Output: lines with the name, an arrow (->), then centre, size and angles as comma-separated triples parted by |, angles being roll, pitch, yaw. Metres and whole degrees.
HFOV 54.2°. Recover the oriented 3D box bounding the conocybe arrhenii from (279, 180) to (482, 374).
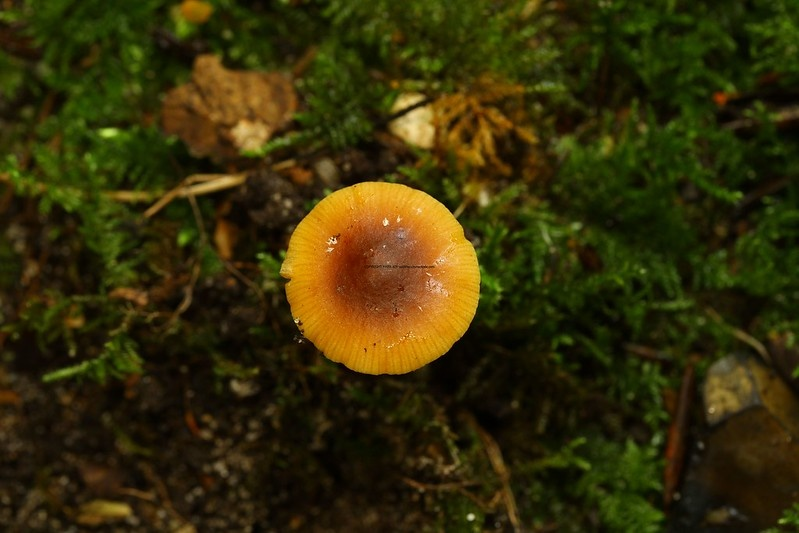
conocybe arrhenii -> -0.004, 0.043, 6.236 | 1.350, 1.392, 1.284 | -1, 93, 28
